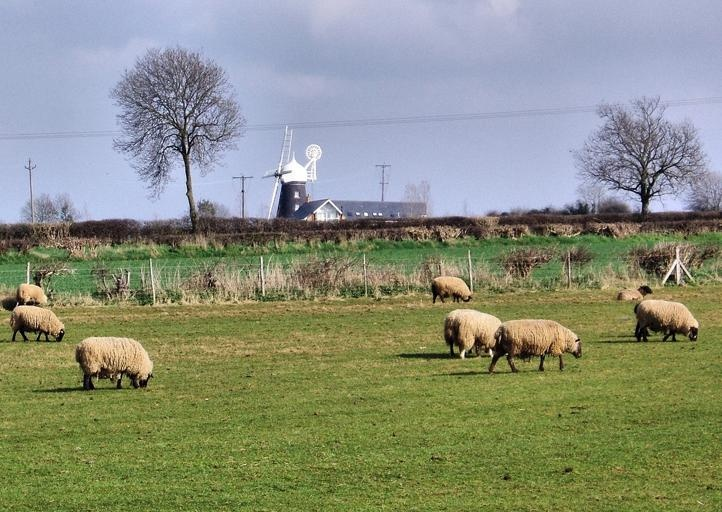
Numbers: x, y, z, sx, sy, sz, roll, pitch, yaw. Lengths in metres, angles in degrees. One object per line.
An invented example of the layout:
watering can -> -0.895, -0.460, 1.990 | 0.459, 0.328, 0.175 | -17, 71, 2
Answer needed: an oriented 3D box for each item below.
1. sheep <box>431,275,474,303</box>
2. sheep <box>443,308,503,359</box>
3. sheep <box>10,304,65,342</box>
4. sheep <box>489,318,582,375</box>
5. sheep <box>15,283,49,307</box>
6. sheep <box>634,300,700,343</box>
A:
sheep -> 4.474, 1.678, 63.440 | 1.885, 1.295, 1.491 | 0, 6, 2
sheep -> 4.244, 3.097, 50.353 | 2.024, 2.105, 1.847 | -3, 10, -25
sheep -> -13.697, 2.842, 54.705 | 2.432, 1.700, 1.274 | 1, 4, -4
sheep -> 6.631, 3.444, 48.396 | 3.783, 2.029, 1.244 | 3, 2, -20
sheep -> -15.862, 1.925, 62.073 | 1.025, 1.204, 2.007 | 0, 6, 7
sheep -> 12.668, 2.561, 52.663 | 2.774, 1.921, 1.369 | 1, 6, 1
